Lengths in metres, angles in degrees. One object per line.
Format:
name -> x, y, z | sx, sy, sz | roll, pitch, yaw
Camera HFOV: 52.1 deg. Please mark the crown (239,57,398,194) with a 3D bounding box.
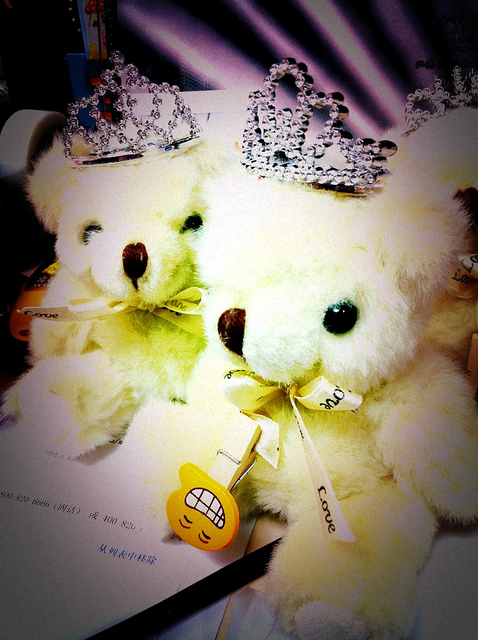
crown -> 0.066, -0.221, 0.591 | 0.198, 0.146, 0.242 | -3, 37, -5
